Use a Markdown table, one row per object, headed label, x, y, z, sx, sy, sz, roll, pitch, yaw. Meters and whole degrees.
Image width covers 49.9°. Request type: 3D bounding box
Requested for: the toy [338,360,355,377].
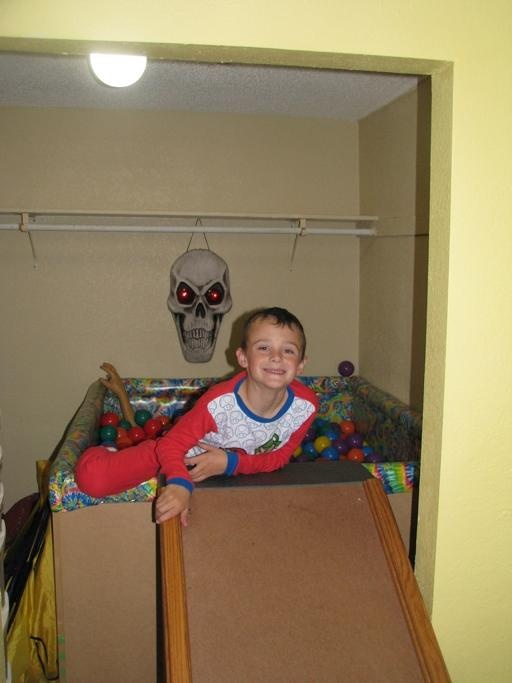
| label | x | y | z | sx | sy | sz | roll | pitch | yaw |
| --- | --- | --- | --- | --- | --- | --- | --- | --- | --- |
| toy | 0.477 | 0.150 | 2.936 | 0.083 | 0.080 | 0.094 | 1 | -71 | -18 |
